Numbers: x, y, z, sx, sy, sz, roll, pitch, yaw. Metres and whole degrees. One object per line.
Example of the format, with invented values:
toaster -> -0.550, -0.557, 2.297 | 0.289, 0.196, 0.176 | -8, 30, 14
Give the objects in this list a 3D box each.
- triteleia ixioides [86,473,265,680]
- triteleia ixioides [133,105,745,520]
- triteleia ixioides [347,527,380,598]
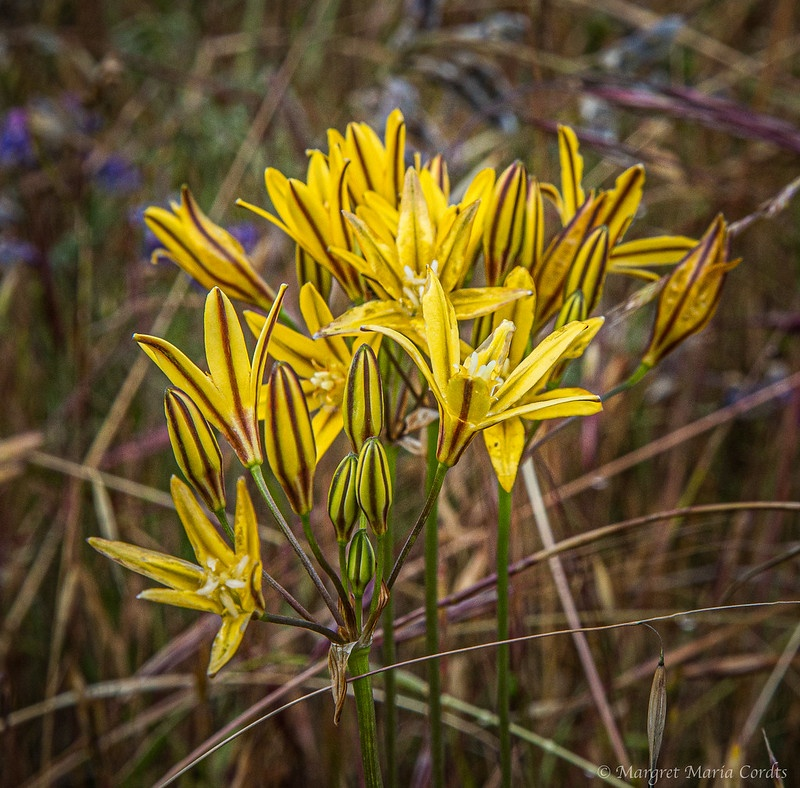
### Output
triteleia ixioides -> -0.286, 0.294, 1.649 | 0.285, 0.237, 0.343 | 23, 3, 30
triteleia ixioides -> 0.085, -0.241, 1.816 | 0.735, 0.787, 0.420 | -32, 51, 19
triteleia ixioides -> -0.064, 0.284, 1.689 | 0.051, 0.121, 0.066 | -7, 31, -5
